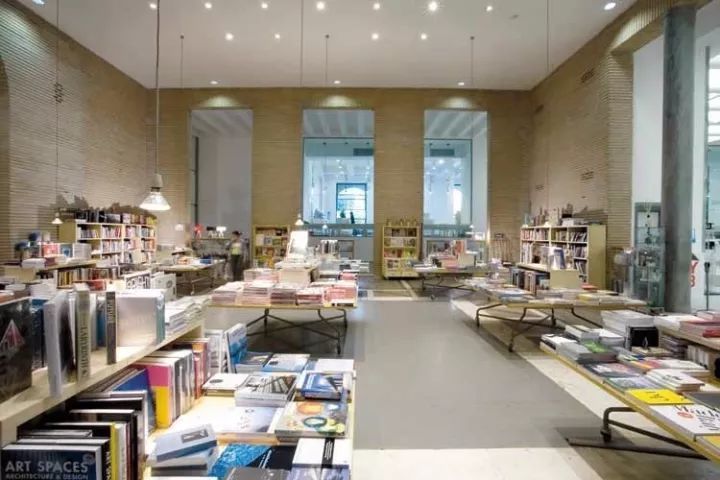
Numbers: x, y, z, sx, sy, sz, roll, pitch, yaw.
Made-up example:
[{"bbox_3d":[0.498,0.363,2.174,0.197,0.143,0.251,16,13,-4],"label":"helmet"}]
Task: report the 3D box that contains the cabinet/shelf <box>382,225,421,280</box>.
[{"bbox_3d":[1.226,0.338,14.566,1.169,1.645,0.558,1,7,2],"label":"cabinet/shelf"}]
